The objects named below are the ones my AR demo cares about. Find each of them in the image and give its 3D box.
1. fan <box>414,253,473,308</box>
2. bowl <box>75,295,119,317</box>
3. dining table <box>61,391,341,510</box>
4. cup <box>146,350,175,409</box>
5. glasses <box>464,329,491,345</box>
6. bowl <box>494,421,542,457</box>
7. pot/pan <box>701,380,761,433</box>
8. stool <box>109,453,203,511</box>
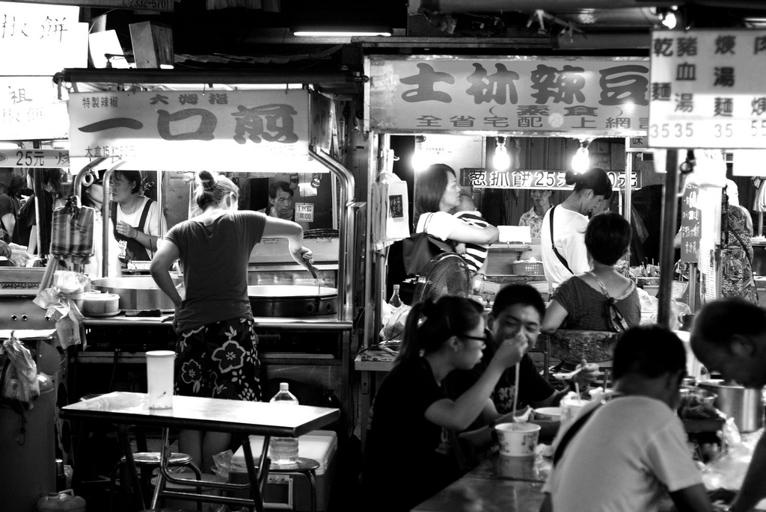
[{"bbox_3d":[0.387,0.154,5.435,0.362,0.333,0.084,5,11,-43],"label":"fan"},{"bbox_3d":[-2.117,0.371,6.135,0.271,0.161,0.153,-1,4,-18],"label":"bowl"},{"bbox_3d":[-1.004,1.171,4.588,1.425,0.729,0.527,1,4,16],"label":"dining table"},{"bbox_3d":[-1.231,0.679,4.524,0.139,0.330,0.241,-1,4,-16],"label":"cup"},{"bbox_3d":[0.469,0.414,4.158,0.122,0.035,0.117,1,-1,-3],"label":"glasses"},{"bbox_3d":[0.643,0.879,3.915,0.219,0.118,0.221,-1,-2,0],"label":"bowl"},{"bbox_3d":[1.813,0.760,4.340,0.379,0.256,0.299,0,0,8],"label":"pot/pan"},{"bbox_3d":[-1.469,1.303,5.198,0.529,0.473,0.519,0,-3,3],"label":"stool"}]
